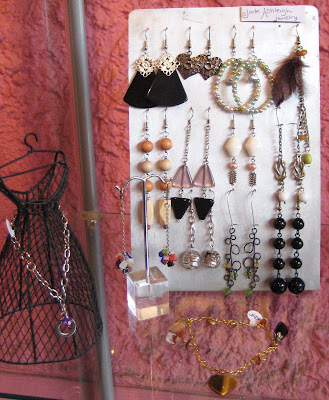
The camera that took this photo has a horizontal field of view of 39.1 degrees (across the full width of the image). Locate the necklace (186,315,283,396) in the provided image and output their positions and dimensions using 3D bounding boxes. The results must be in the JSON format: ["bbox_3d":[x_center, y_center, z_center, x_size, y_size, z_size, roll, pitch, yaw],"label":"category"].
[{"bbox_3d":[0.153,0.378,1.226,0.268,0.132,0.230,-6,7,-42],"label":"necklace"}]

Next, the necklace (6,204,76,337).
[{"bbox_3d":[-0.298,0.205,1.134,0.143,0.353,0.280,-2,6,-12],"label":"necklace"}]
